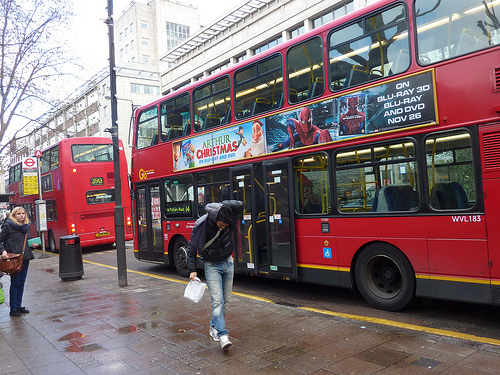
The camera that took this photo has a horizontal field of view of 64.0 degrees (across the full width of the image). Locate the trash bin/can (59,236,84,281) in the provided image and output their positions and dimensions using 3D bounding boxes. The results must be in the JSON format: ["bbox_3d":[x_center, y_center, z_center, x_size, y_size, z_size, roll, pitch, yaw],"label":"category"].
[{"bbox_3d":[-5.403,2.094,12.096,0.686,1.244,0.740,-3,1,27],"label":"trash bin/can"}]

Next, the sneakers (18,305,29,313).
[{"bbox_3d":[-4.769,2.602,8.473,0.252,0.120,0.090,-2,-4,21],"label":"sneakers"}]

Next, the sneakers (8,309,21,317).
[{"bbox_3d":[-4.841,2.615,8.301,0.273,0.142,0.181,-2,0,41],"label":"sneakers"}]

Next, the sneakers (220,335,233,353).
[{"bbox_3d":[-0.358,2.376,6.126,0.177,0.226,0.259,-2,0,-3],"label":"sneakers"}]

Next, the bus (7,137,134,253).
[{"bbox_3d":[-10.172,0.506,21.478,2.919,5.117,8.911,-2,-1,-44],"label":"bus"}]

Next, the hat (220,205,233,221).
[{"bbox_3d":[-0.367,0.414,6.153,0.259,0.267,0.105,-2,0,-23],"label":"hat"}]

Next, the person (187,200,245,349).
[{"bbox_3d":[-0.511,1.359,6.317,0.808,2.243,0.699,-2,0,-32],"label":"person"}]
